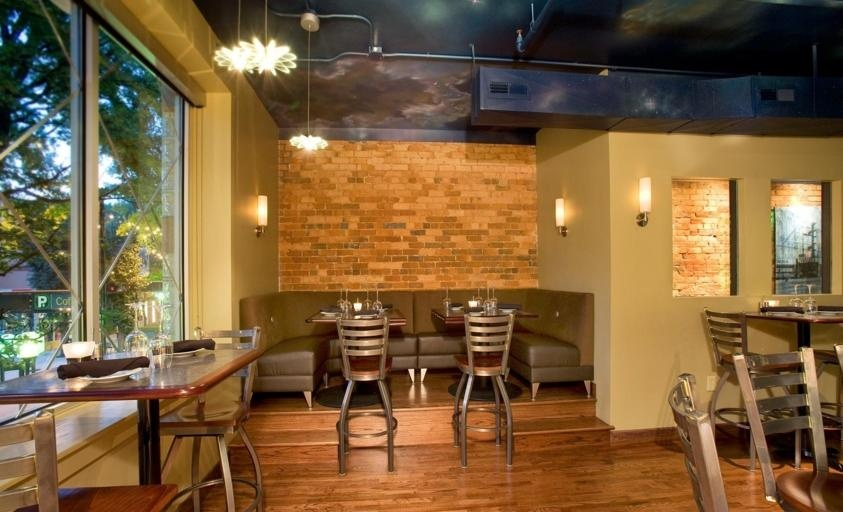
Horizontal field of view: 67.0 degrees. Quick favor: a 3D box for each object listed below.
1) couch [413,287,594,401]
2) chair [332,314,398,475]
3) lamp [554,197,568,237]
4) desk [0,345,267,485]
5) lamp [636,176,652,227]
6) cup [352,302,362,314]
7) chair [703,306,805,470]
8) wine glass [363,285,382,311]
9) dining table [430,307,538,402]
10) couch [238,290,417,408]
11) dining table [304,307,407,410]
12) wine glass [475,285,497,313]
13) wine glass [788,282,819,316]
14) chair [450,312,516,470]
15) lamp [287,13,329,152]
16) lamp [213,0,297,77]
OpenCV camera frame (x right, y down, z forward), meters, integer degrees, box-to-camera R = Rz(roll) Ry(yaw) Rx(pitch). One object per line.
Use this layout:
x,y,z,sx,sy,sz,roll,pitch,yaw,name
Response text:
1.159,1.037,7.925,1.574,0.831,1.548,1,-3,0,couch
-0.602,1.445,6.896,0.641,1.638,0.799,-1,0,-3,chair
1.782,-0.500,8.199,0.112,0.471,0.171,-1,0,-13,lamp
-2.400,1.421,5.376,1.364,1.145,1.277,-1,-1,1,desk
2.552,-0.624,7.285,0.193,0.537,0.136,-1,0,-1,lamp
-0.794,0.630,7.771,0.117,0.116,0.110,1,-1,0,cup
3.604,1.351,6.953,0.940,1.313,0.870,5,-17,0,chair
-0.673,0.566,8.518,0.325,0.380,0.133,1,-1,14,wine glass
0.694,1.115,7.253,1.124,0.826,1.042,0,-4,-8,dining table
-1.185,1.044,8.133,2.454,1.119,1.581,-3,5,-34,couch
-0.714,1.200,7.287,1.204,0.977,1.123,1,7,1,dining table
0.829,0.562,8.312,0.226,0.514,0.264,4,7,39,wine glass
4.405,0.504,7.384,0.368,0.410,0.177,2,5,20,wine glass
0.671,1.416,7.006,0.688,1.603,0.865,-1,0,2,chair
-1.365,-1.898,7.634,0.435,1.536,2.264,-1,-1,-10,lamp
-1.702,-2.172,6.487,0.845,0.737,1.403,-1,-1,-11,lamp
